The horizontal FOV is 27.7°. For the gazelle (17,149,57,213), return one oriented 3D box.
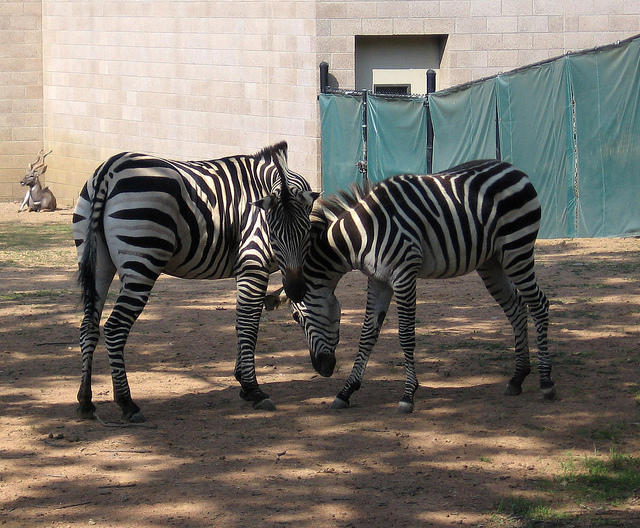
[{"bbox_3d":[-5.355,-1.538,24.689,0.539,1.166,0.536,12,26,27],"label":"gazelle"}]

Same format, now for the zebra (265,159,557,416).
[{"bbox_3d":[0.971,0.177,12.139,3.724,2.112,1.490,-1,5,-17],"label":"zebra"}]

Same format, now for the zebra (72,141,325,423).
[{"bbox_3d":[-1.167,0.089,12.827,1.044,2.575,3.356,-2,-1,35],"label":"zebra"}]

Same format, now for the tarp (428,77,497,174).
[{"bbox_3d":[2.142,-1.928,18.938,1.138,1.373,0.143,-1,11,29],"label":"tarp"}]

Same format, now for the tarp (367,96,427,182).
[{"bbox_3d":[1.184,-1.927,19.503,1.207,1.439,0.555,11,25,29],"label":"tarp"}]
